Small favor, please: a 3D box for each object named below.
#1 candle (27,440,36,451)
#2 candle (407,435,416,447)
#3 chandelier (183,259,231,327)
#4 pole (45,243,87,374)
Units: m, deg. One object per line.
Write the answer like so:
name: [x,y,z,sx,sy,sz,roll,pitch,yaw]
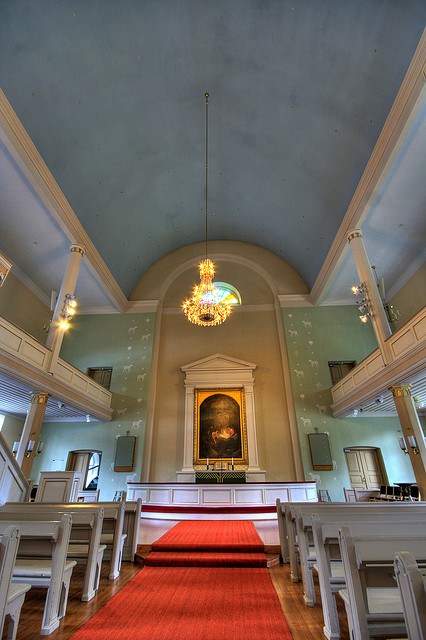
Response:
candle: [-3.291,2.383,7.686,0.114,0.246,0.121,10,-16,-41]
candle: [3.256,2.083,6.958,0.024,0.192,0.135,10,-29,-26]
chandelier: [-0.138,-0.531,8.249,0.850,1.346,0.547,-2,-24,0]
pole: [-3.277,-0.207,9.353,0.534,3.530,0.760,-16,-26,31]
